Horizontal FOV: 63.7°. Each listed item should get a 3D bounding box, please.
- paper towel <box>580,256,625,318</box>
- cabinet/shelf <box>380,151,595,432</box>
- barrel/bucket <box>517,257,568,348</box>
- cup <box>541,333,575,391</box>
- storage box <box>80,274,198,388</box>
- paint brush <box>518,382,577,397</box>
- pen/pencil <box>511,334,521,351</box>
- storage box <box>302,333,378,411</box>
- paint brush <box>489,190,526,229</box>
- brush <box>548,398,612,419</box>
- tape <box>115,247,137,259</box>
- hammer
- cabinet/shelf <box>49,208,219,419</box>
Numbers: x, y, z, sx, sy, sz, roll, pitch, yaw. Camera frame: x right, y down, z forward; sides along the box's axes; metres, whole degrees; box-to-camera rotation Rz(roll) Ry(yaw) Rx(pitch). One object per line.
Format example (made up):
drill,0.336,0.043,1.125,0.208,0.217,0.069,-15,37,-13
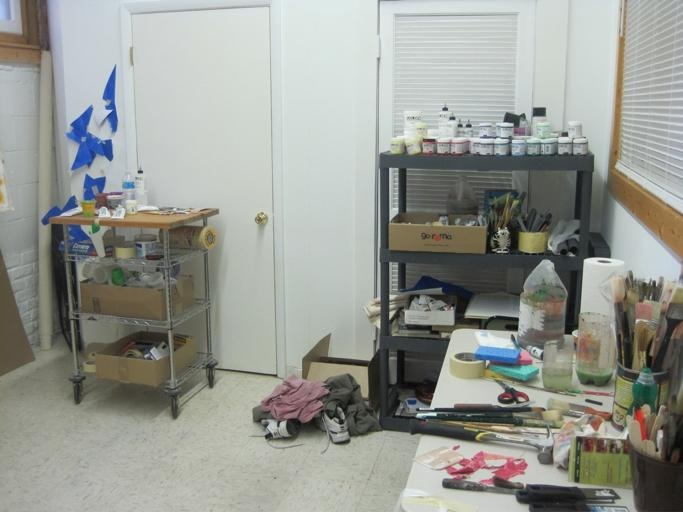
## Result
paper towel,0.916,0.104,1.977,0.153,0.243,0.203,5,14,16
cabinet/shelf,0.784,0.440,3.449,1.283,2.113,0.747,2,9,16
barrel/bucket,0.718,0.183,2.045,0.151,0.318,0.205,6,13,20
cup,0.715,0.346,1.811,0.086,0.145,0.148,5,11,25
storage box,-1.181,0.433,3.357,0.624,0.950,0.403,0,1,21
paint brush,0.662,0.430,1.766,0.195,0.027,0.011,8,-9,14
pen/pencil,0.634,0.312,2.003,0.018,0.019,0.069,-15,35,11
storage box,0.051,0.681,3.326,0.452,0.322,0.367,7,18,29
paint brush,0.842,-0.221,2.782,0.099,0.191,0.177,4,20,-26
brush,0.697,0.458,1.653,0.195,0.053,0.056,8,29,18
tape,-1.256,-0.028,3.207,0.074,0.050,0.076,4,9,22
hammer,0.393,0.498,1.550,0.395,0.233,0.075,6,58,14
cabinet/shelf,-1.238,0.356,3.395,0.875,1.247,0.450,0,3,18
